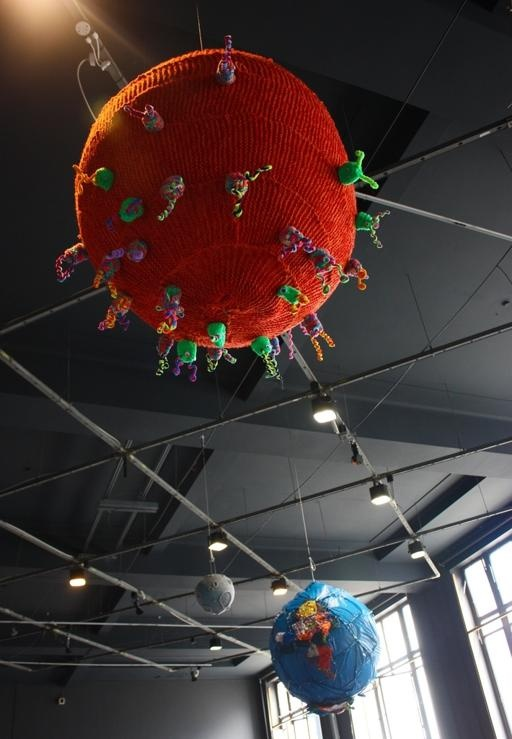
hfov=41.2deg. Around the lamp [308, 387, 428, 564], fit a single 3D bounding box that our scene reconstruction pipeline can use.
[{"bbox_3d":[1.437,1.334,8.714,0.432,0.509,4.751,-13,-41,20],"label":"lamp"}]
